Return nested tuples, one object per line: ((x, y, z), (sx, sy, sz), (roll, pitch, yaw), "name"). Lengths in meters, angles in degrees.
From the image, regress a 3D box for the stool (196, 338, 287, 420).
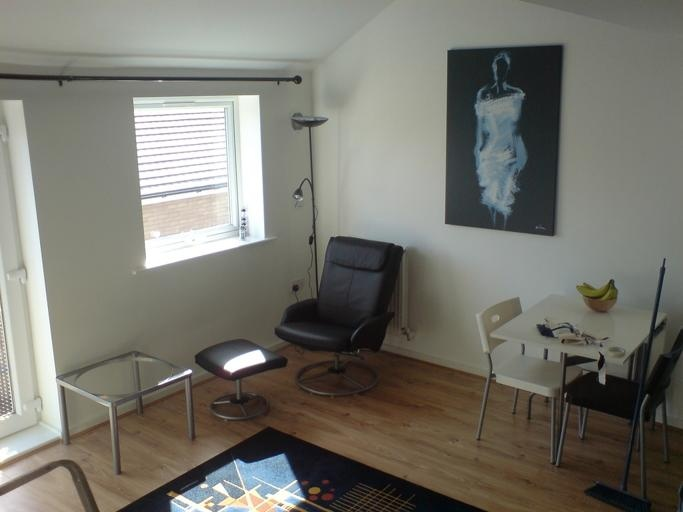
((-0.808, 0.912, 4.122), (0.610, 0.561, 0.616), (15, 19, 43), "stool")

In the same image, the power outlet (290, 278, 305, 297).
((-0.456, 0.323, 5.356), (0.037, 0.151, 0.157), (6, 8, 20), "power outlet")

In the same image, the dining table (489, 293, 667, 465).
((1.508, 0.587, 3.674), (1.024, 1.007, 1.298), (15, 24, 38), "dining table")

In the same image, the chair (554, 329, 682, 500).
((1.859, 0.944, 3.551), (0.639, 0.917, 0.802), (7, 16, 34), "chair")

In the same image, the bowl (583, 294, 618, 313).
((1.821, 0.319, 3.746), (0.136, 0.064, 0.137), (1, 2, 0), "bowl")

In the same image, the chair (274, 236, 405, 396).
((0.015, 0.488, 4.635), (0.867, 1.177, 1.000), (7, 16, 33), "chair")

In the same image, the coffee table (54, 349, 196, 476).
((-1.495, 0.959, 3.797), (0.740, 0.628, 0.794), (10, 15, 43), "coffee table")

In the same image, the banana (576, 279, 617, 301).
((1.814, 0.254, 3.836), (0.313, 0.211, 0.126), (-1, -1, 25), "banana")
